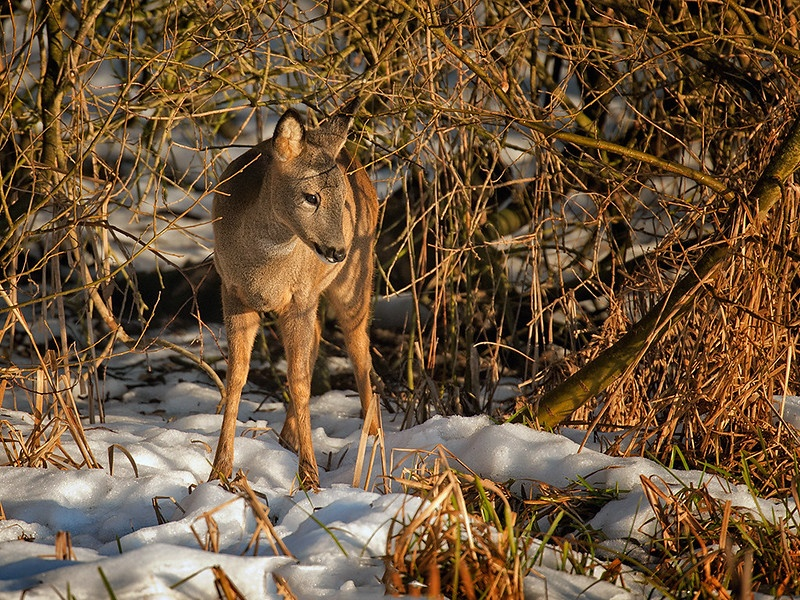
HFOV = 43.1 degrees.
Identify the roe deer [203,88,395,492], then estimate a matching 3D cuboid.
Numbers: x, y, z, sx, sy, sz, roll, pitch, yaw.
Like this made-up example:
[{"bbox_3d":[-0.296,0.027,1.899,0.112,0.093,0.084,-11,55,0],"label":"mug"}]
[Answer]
[{"bbox_3d":[-0.649,-0.054,6.130,1.039,2.257,1.624,19,24,29],"label":"roe deer"}]
